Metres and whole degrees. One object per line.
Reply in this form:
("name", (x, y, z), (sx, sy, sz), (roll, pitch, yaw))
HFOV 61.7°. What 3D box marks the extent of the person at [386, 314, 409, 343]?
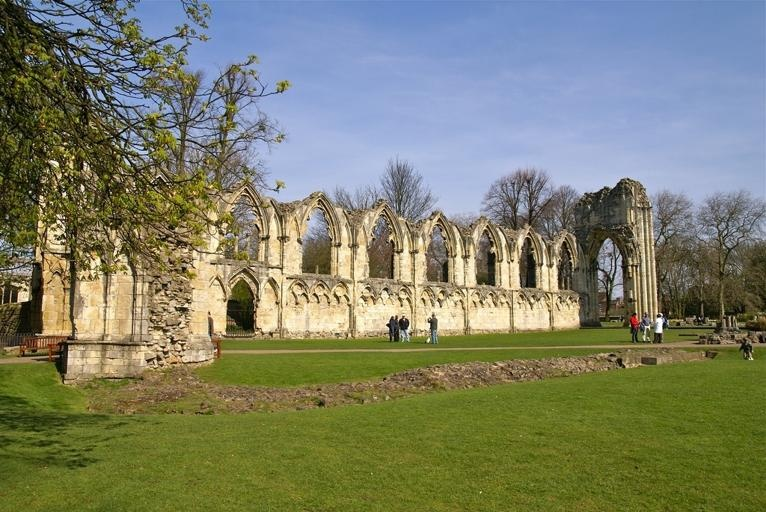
("person", (0.727, 4.238, 36.951), (1.639, 1.782, 0.731), (2, -18, -8))
